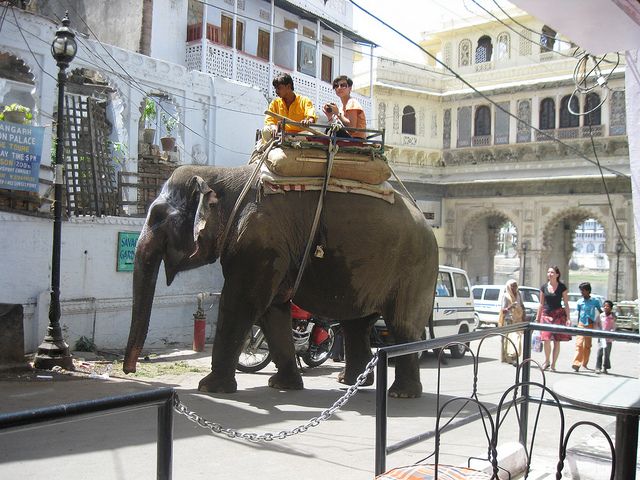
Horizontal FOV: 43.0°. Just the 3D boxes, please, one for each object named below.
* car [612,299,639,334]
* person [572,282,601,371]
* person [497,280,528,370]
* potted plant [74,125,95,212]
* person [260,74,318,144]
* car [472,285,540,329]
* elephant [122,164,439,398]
[{"bbox_3d":[9.393,2.281,24.962,0.684,1.033,3.191,4,0,20],"label":"car"},{"bbox_3d":[5.220,1.671,15.899,0.548,1.736,0.799,3,1,29],"label":"person"},{"bbox_3d":[3.955,1.640,16.718,0.637,1.738,0.531,1,-4,-3],"label":"person"},{"bbox_3d":[-4.819,-1.349,16.638,0.386,2.288,0.413,4,8,43],"label":"potted plant"},{"bbox_3d":[-0.440,-1.985,12.117,0.828,1.016,0.981,4,1,-4],"label":"person"},{"bbox_3d":[5.591,1.887,25.077,1.692,1.437,2.712,3,-5,-35],"label":"car"},{"bbox_3d":[-0.494,0.595,12.986,4.980,3.680,2.557,2,8,-11],"label":"elephant"}]
